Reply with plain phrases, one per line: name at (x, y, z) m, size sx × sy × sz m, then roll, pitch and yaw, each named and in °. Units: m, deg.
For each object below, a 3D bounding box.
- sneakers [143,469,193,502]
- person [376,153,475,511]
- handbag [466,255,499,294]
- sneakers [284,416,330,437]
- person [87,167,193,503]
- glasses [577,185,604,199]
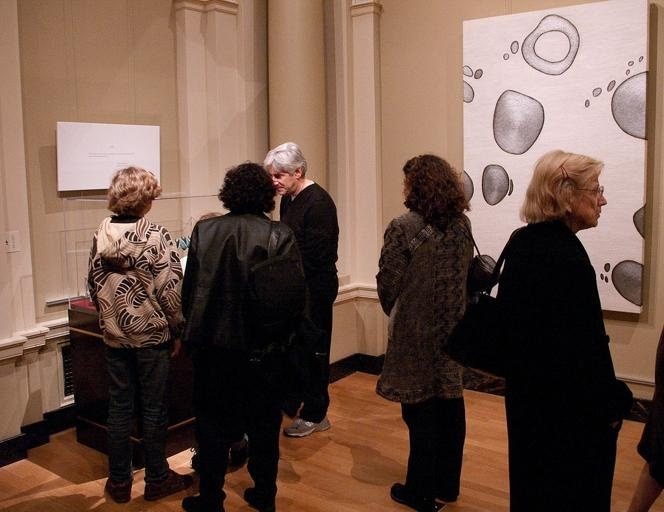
sneakers at (-0.968, 1.335, 3.302) m, size 0.117 × 0.141 × 0.299 m, roll 2°, pitch 6°, yaw 42°
person at (0.482, 0.456, 2.925) m, size 0.486 × 1.961 × 0.309 m, roll 1°, pitch 8°, yaw 12°
handbag at (0.758, 0.099, 2.853) m, size 0.124 × 0.219 × 0.239 m, roll 2°, pitch 10°, yaw 14°
sneakers at (-0.195, 1.217, 4.008) m, size 0.322 × 0.159 × 0.141 m, roll 1°, pitch -6°, yaw -18°
person at (-1.125, 0.603, 3.189) m, size 0.534 × 1.628 × 0.348 m, roll -3°, pitch 9°, yaw -14°
glasses at (1.052, -0.267, 2.254) m, size 0.094 × 0.033 × 0.072 m, roll 0°, pitch 3°, yaw 30°
